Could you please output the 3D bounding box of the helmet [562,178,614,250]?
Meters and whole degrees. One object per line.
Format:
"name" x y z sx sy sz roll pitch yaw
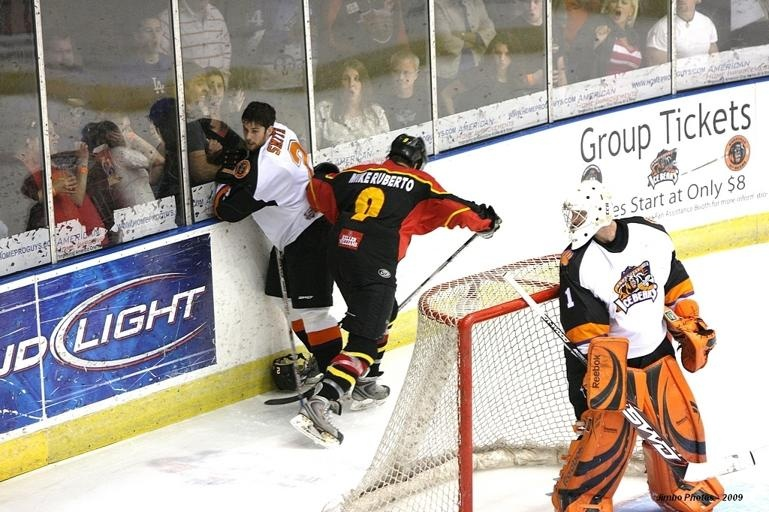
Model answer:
"helmet" 0.953 -0.203 4.120 0.309 0.259 0.226 -20 9 -36

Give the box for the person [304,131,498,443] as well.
"person" -0.009 0.181 5.126 1.246 1.783 0.525 -4 6 -14

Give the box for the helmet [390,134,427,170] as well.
"helmet" 0.177 -0.623 5.206 0.240 0.220 0.187 0 15 -34
